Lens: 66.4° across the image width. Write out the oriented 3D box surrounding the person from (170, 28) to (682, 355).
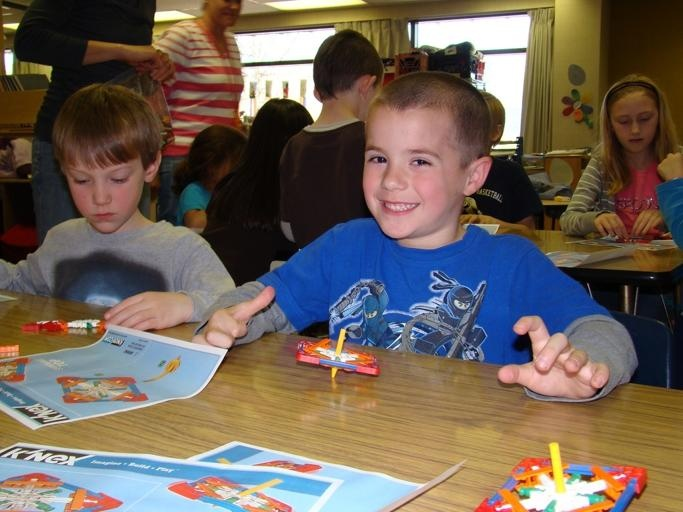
[{"bbox_3d":[0.515,-0.033,2.900,2.090,0.488,1.383,6,40,5],"label":"person"}]
